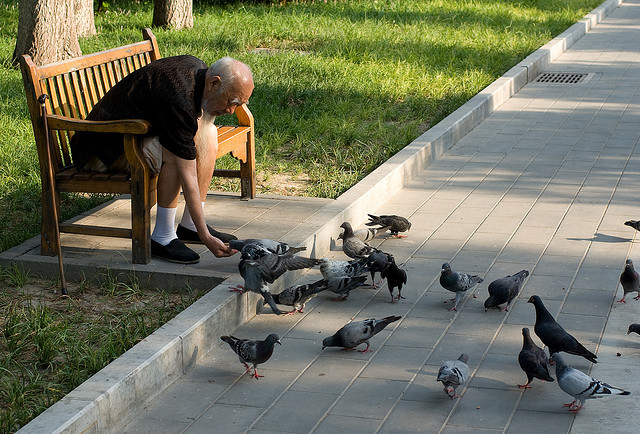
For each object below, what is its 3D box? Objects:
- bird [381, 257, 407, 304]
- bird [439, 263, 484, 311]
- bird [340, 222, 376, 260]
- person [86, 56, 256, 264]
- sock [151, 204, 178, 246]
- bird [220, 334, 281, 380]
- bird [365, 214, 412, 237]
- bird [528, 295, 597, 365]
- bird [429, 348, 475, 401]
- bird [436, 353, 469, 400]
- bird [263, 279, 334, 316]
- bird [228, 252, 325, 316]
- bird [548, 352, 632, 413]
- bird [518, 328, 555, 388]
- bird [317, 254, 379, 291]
[{"bbox_3d":[0.636,0.526,6.414,0.209,0.358,0.265,3,18,5],"label":"bird"},{"bbox_3d":[1.194,0.533,6.387,0.203,0.375,0.606,5,14,43],"label":"bird"},{"bbox_3d":[0.367,0.236,7.079,0.411,0.400,0.193,3,24,4],"label":"bird"},{"bbox_3d":[-1.247,-0.515,6.530,1.214,1.731,1.492,-5,19,-17],"label":"person"},{"bbox_3d":[-1.373,0.057,6.613,0.219,0.321,0.199,-1,19,-8],"label":"sock"},{"bbox_3d":[-0.507,0.975,5.545,0.411,0.306,0.236,15,22,36],"label":"bird"},{"bbox_3d":[0.695,0.069,7.543,0.441,0.144,0.168,7,-5,3],"label":"bird"},{"bbox_3d":[1.836,0.852,5.537,0.230,0.409,0.648,-10,11,-30],"label":"bird"},{"bbox_3d":[0.944,1.095,5.320,0.242,0.192,0.459,8,13,37],"label":"bird"},{"bbox_3d":[0.924,1.113,5.248,0.210,0.233,0.368,8,4,39],"label":"bird"},{"bbox_3d":[-0.154,0.635,6.281,0.651,0.236,0.193,-25,-1,0],"label":"bird"},{"bbox_3d":[-0.359,0.422,5.946,0.537,0.252,0.655,28,25,36],"label":"bird"},{"bbox_3d":[1.824,1.125,5.082,0.574,0.313,0.173,4,-2,9],"label":"bird"},{"bbox_3d":[1.541,0.987,5.330,0.241,0.287,0.329,5,18,11],"label":"bird"},{"bbox_3d":[0.209,0.433,6.455,0.628,0.193,0.320,-11,34,-13],"label":"bird"}]
